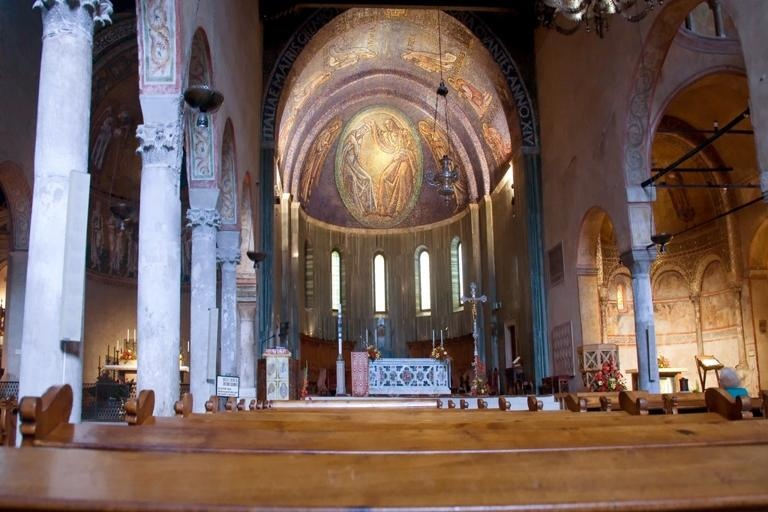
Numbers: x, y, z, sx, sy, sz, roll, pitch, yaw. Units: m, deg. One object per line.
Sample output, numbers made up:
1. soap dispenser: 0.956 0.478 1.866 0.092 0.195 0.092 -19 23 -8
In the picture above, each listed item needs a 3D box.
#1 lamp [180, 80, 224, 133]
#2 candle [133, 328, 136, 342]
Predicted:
1. lamp: -2.399 -1.905 8.733 0.462 0.566 1.382 2 -16 -15
2. candle: -7.298 2.313 19.262 0.062 0.364 0.295 7 -17 -33
